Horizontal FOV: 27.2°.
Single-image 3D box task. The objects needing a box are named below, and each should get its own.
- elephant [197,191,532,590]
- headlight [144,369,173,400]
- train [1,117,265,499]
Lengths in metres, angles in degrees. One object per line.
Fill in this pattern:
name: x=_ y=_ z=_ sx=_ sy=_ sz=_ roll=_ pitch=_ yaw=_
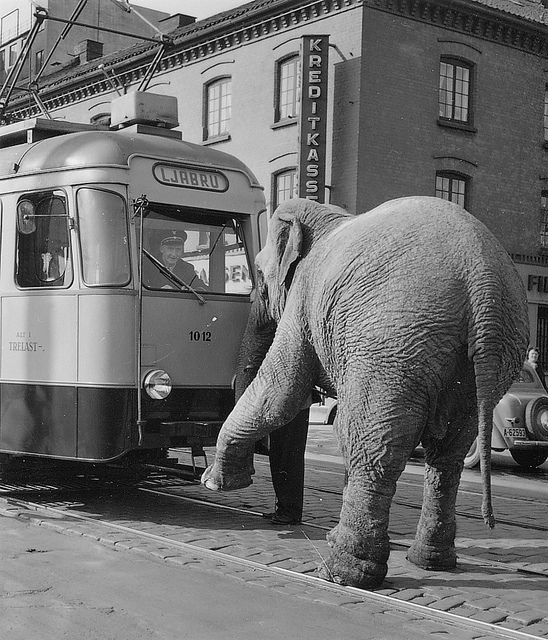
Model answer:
elephant: x=0.790 y=0.302 z=7.843 sx=1.517 sy=2.313 sz=3.043 roll=13 pitch=-2 yaw=-33
headlight: x=-0.912 y=0.502 z=8.927 sx=0.220 sy=0.214 sz=0.053 roll=6 pitch=-2 yaw=-43
train: x=-0.857 y=-0.274 z=9.674 sx=1.969 sy=2.127 sz=3.223 roll=1 pitch=4 yaw=-42
